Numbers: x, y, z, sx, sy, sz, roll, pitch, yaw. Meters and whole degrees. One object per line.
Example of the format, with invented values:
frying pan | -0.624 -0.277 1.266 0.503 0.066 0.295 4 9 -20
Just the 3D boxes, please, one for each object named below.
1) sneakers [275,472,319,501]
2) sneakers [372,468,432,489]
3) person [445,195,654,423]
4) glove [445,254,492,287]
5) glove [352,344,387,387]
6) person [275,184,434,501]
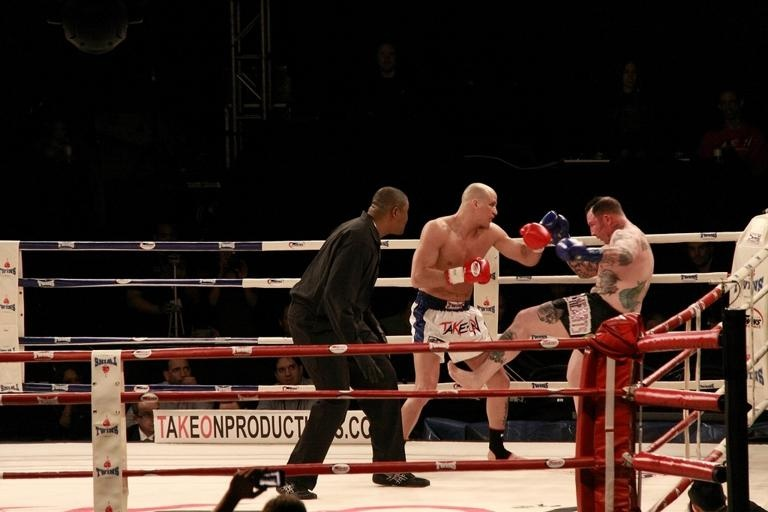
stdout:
sneakers | -0.591 1.824 8.954 0.493 0.170 0.184 4 -2 3
sneakers | 0.131 1.824 9.281 0.533 0.185 0.189 0 -4 2
person | 1.562 0.307 9.728 1.393 1.628 0.329 1 -2 9
glove | 0.719 0.132 9.624 0.366 0.227 0.245 0 -2 13
glove | -0.125 0.905 9.131 0.246 0.235 0.356 1 -2 -1
person | -0.284 0.680 9.176 1.031 2.499 0.595 1 -2 1
